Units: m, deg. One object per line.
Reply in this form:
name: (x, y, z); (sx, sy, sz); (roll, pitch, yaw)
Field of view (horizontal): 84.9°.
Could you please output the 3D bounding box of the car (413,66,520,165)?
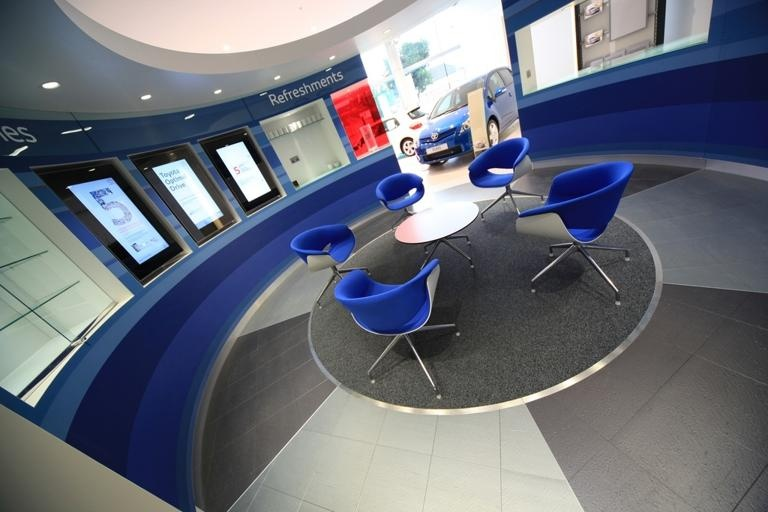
car: (1.553, -2.701, 8.223); (1.421, 1.083, 2.387); (-11, 22, 50)
